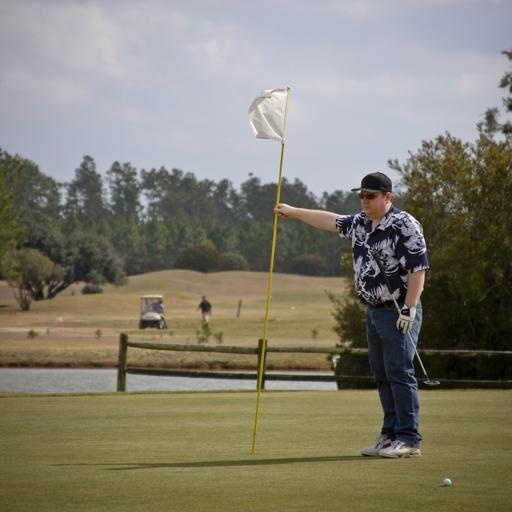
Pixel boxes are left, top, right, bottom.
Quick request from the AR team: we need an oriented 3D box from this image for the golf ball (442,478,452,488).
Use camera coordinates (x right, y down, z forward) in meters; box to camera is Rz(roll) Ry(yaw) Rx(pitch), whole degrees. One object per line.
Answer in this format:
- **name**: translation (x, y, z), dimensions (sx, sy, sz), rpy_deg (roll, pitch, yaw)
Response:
- **golf ball**: translation (1.875, 2.191, 13.836), dimensions (0.083, 0.075, 0.164), rpy_deg (2, -4, 9)

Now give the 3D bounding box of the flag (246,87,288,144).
- **flag**: translation (0.161, -1.528, 15.609), dimensions (0.416, 0.591, 0.178), rpy_deg (3, -3, -4)

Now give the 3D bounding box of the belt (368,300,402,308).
- **belt**: translation (1.330, 0.507, 14.885), dimensions (0.297, 0.082, 0.078), rpy_deg (-1, -5, 42)

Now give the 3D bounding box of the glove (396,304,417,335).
- **glove**: translation (1.566, 0.655, 14.687), dimensions (0.146, 0.317, 0.076), rpy_deg (3, -8, 16)
